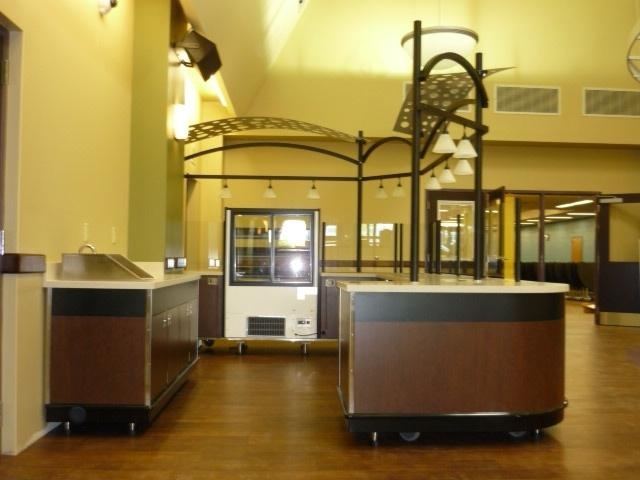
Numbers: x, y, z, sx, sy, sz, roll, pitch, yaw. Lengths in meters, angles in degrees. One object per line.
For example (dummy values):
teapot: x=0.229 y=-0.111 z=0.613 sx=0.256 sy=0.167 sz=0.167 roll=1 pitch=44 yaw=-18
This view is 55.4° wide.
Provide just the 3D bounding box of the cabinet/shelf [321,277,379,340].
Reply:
cabinet/shelf: x=0.410 y=0.868 z=8.561 sx=0.800 sy=1.179 sz=1.192 roll=1 pitch=-7 yaw=1

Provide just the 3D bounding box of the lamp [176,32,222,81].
lamp: x=-1.380 y=-2.187 z=7.255 sx=0.504 sy=0.500 sz=0.421 roll=-1 pitch=4 yaw=-29
